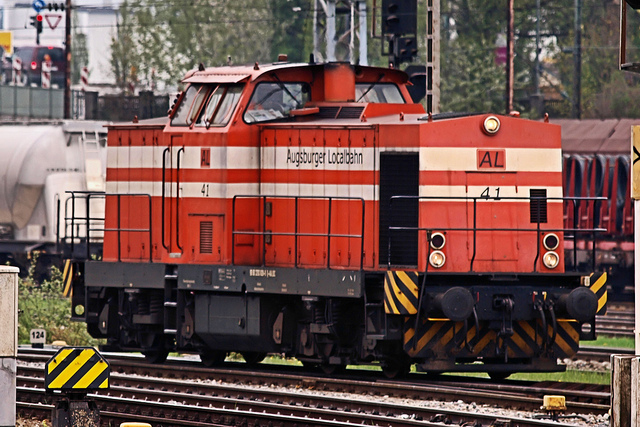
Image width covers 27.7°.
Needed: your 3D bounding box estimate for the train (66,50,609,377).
[{"bbox_3d":[-0.133,0.108,32.558,5.904,7.420,14.815,4,-3,-33],"label":"train"}]
